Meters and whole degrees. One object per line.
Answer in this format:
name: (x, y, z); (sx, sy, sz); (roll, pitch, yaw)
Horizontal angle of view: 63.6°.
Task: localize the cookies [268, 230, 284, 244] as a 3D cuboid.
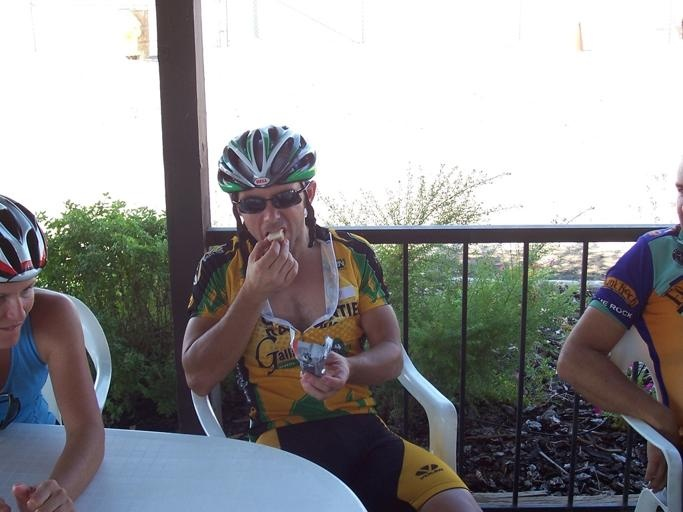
cookies: (-0.270, -0.088, 2.278); (0.047, 0.021, 0.052); (-8, 34, 27)
